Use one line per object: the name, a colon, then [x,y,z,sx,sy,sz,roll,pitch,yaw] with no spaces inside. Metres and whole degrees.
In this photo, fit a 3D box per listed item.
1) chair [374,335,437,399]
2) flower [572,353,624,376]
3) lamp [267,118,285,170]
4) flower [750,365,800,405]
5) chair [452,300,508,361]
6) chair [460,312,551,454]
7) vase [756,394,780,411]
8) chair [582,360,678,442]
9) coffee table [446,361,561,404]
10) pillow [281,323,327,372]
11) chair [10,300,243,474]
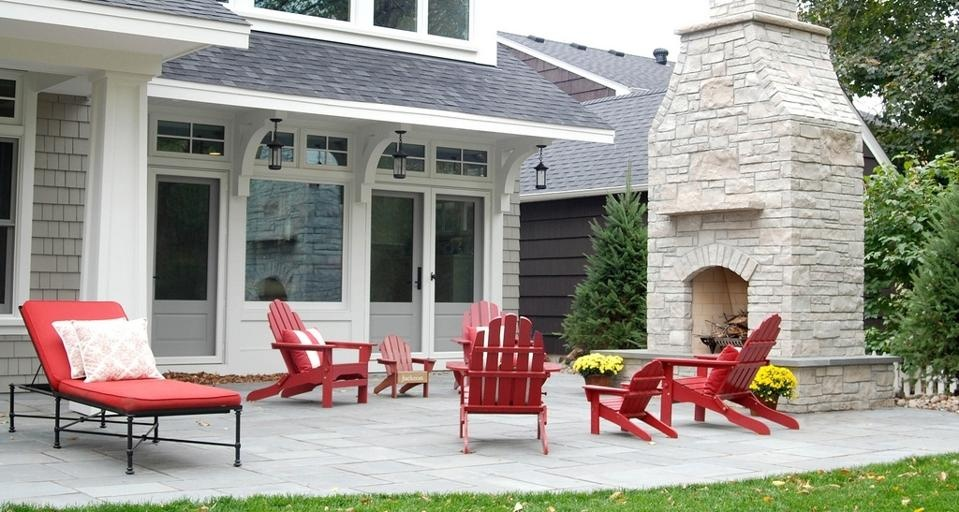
chair: [-1.049,1.751,13.804,1.051,1.041,1.044,0,1,-30]
flower: [1.825,1.713,13.580,0.519,0.185,0.502,-2,-2,43]
lamp: [-3.444,-1.939,14.560,0.243,0.878,1.102,1,-5,-12]
flower: [4.317,1.816,12.509,0.687,0.424,0.634,-1,1,21]
chair: [-0.055,1.203,14.392,1.043,1.211,0.924,2,-7,-8]
chair: [0.319,1.564,10.876,1.136,1.684,1.167,1,-4,-1]
vase: [4.195,2.123,12.547,0.271,0.168,0.262,1,-4,-8]
chair: [1.937,1.878,11.590,0.981,1.080,1.260,1,0,-43]
coffee table: [0.282,1.654,11.265,1.142,0.346,0.708,0,-2,-25]
pillow: [-2.620,1.373,13.128,0.566,0.779,1.057,-5,-6,27]
chair: [-4.288,1.470,10.296,3.053,1.924,1.116,-2,-5,31]
